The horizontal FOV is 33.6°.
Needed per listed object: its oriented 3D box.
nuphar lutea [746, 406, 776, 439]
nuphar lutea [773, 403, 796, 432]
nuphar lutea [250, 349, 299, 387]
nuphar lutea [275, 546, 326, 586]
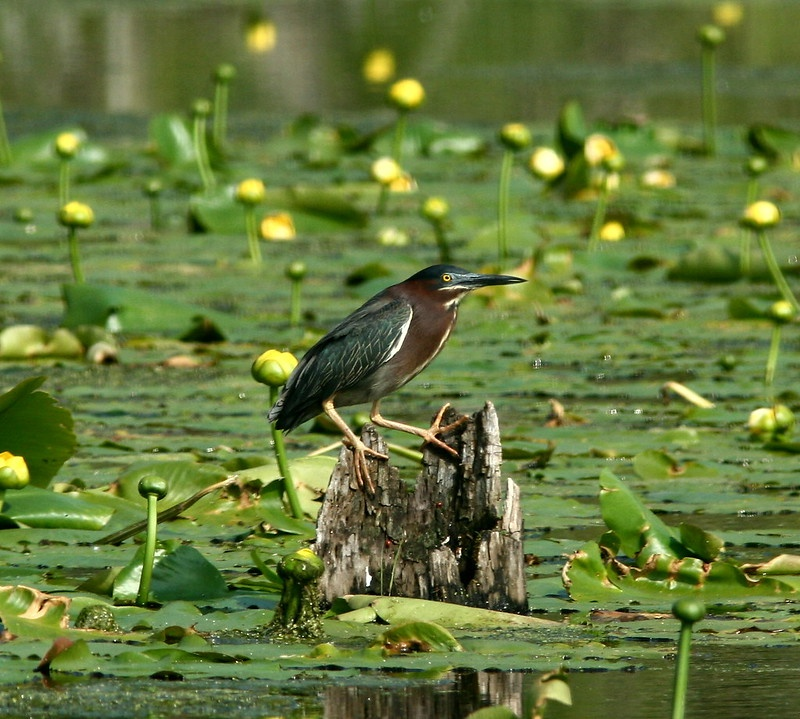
[{"bbox_3d":[1.774,0.298,6.435,0.130,0.145,0.107,-1,-17,15],"label":"nuphar lutea"},{"bbox_3d":[1.877,0.287,6.438,0.072,0.131,0.157,-3,-16,25],"label":"nuphar lutea"},{"bbox_3d":[-0.485,0.025,5.138,0.226,0.130,0.146,-7,-58,5],"label":"nuphar lutea"},{"bbox_3d":[-0.291,0.631,4.094,0.171,0.068,0.110,-1,-37,2],"label":"nuphar lutea"}]
